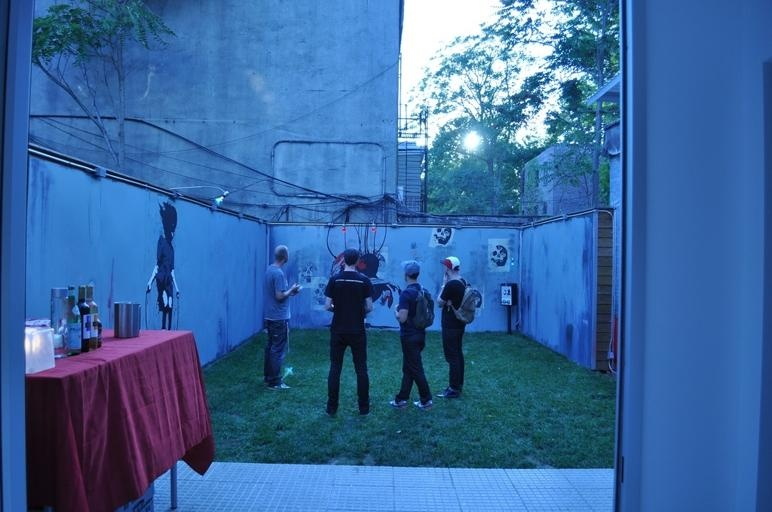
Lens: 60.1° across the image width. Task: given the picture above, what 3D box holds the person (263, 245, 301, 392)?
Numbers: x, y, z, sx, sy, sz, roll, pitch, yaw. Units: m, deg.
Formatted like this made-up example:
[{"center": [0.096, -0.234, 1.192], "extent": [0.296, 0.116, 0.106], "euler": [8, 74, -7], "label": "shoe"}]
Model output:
[{"center": [-1.410, 0.813, 8.975], "extent": [0.414, 1.894, 0.833], "euler": [-1, 10, -11], "label": "person"}]

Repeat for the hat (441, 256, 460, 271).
[{"center": [0.821, 0.093, 8.647], "extent": [0.179, 0.152, 0.262], "euler": [-1, 11, -19], "label": "hat"}]

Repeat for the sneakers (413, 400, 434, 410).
[{"center": [0.447, 1.818, 8.206], "extent": [0.243, 0.124, 0.094], "euler": [3, -2, 17], "label": "sneakers"}]

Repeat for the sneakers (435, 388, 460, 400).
[{"center": [0.792, 1.759, 8.593], "extent": [0.219, 0.098, 0.143], "euler": [1, -10, 5], "label": "sneakers"}]

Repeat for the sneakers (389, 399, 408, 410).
[{"center": [0.138, 1.816, 8.203], "extent": [0.248, 0.126, 0.093], "euler": [3, -2, 13], "label": "sneakers"}]

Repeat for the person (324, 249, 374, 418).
[{"center": [-0.439, 0.874, 7.992], "extent": [0.534, 1.915, 0.645], "euler": [0, 10, -4], "label": "person"}]

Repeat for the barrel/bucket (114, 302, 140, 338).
[{"center": [-2.236, 0.572, 5.977], "extent": [0.250, 0.378, 0.263], "euler": [0, 1, 0], "label": "barrel/bucket"}]

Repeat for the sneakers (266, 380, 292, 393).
[{"center": [-1.383, 1.718, 8.801], "extent": [0.322, 0.159, 0.116], "euler": [0, -4, -4], "label": "sneakers"}]
